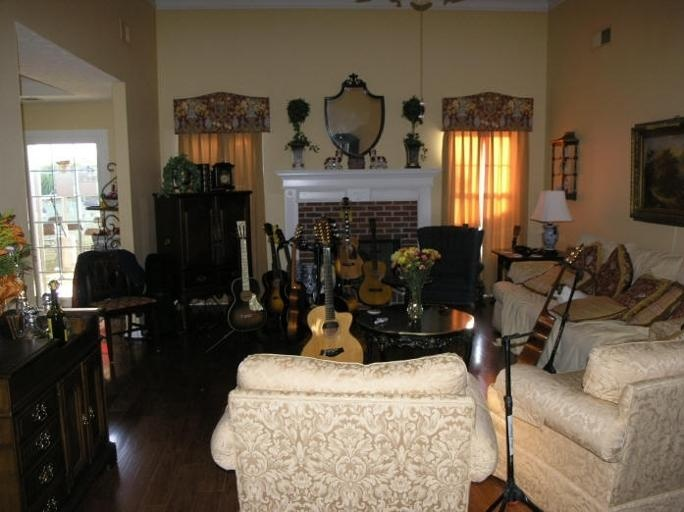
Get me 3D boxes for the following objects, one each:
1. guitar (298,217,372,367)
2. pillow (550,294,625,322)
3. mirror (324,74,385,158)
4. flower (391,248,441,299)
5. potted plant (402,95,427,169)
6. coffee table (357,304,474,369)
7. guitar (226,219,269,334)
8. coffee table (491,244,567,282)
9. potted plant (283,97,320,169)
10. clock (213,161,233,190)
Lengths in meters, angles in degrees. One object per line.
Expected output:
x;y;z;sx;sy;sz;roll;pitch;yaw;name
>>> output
-0.082;0.267;4.530;0.467;1.095;0.755;-1;8;0;guitar
2.105;0.444;4.616;0.333;0.110;0.302;-6;12;8;pillow
0.168;-1.776;7.131;0.777;1.114;0.043;-1;-11;1;mirror
0.603;0.129;4.682;0.439;0.497;0.454;0;2;0;flower
0.910;-1.584;6.977;0.295;0.942;0.530;0;8;7;potted plant
0.614;0.693;4.663;0.703;0.749;0.693;-2;10;-2;coffee table
-0.986;0.228;5.662;0.378;1.158;0.301;-2;9;-9;guitar
2.273;-0.003;6.799;0.539;0.566;0.562;-1;8;-2;coffee table
-0.502;-1.551;6.957;0.434;0.887;0.445;-2;8;-6;potted plant
-1.411;-0.955;6.579;0.272;0.377;0.283;-2;11;-6;clock
